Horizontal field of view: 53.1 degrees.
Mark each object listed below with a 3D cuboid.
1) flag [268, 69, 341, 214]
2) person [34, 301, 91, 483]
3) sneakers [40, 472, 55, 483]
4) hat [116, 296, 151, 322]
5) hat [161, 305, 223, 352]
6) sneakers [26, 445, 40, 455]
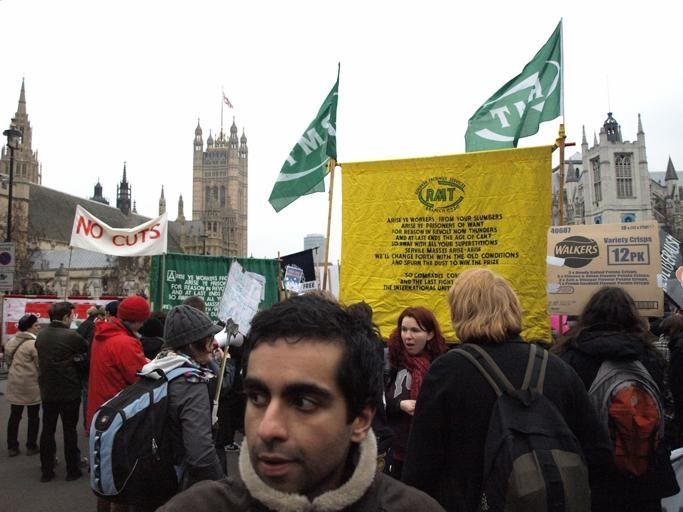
[{"bbox_3d":[-0.396,-1.430,8.159,0.742,0.123,2.076,-1,-51,-18],"label":"flag"},{"bbox_3d":[-3.403,1.610,8.217,0.603,2.117,0.416,2,-7,-17],"label":"person"},{"bbox_3d":[-3.518,2.617,8.116,0.170,0.105,0.173,1,-7,-15],"label":"sneakers"},{"bbox_3d":[-2.048,0.499,6.701,0.263,0.215,0.261,3,10,-39],"label":"hat"},{"bbox_3d":[-1.272,0.579,5.662,0.392,0.264,0.318,-10,10,-19],"label":"hat"},{"bbox_3d":[-4.101,2.559,9.016,0.076,0.087,0.198,0,-1,1],"label":"sneakers"}]
